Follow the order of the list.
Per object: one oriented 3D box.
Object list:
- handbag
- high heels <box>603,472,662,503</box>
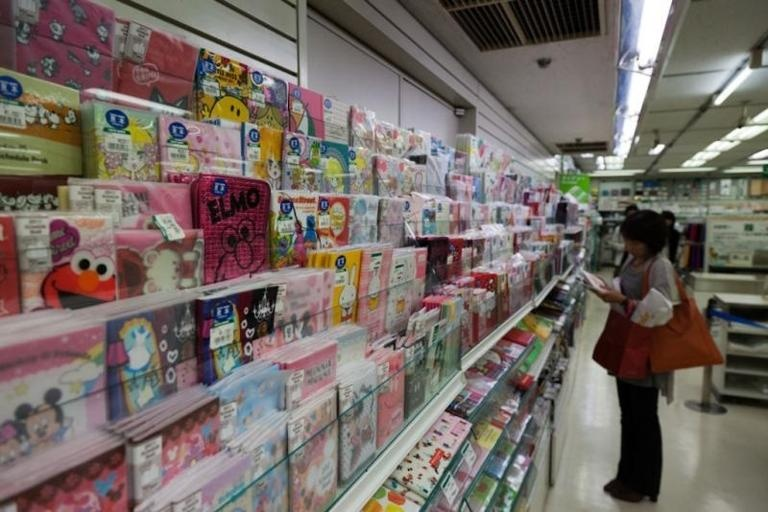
[{"bbox_3d":[1.676,0.524,2.872,0.710,0.602,0.341,8,12,39],"label":"handbag"},{"bbox_3d":[1.669,1.585,3.093,0.318,0.141,0.117,9,12,42],"label":"high heels"}]
